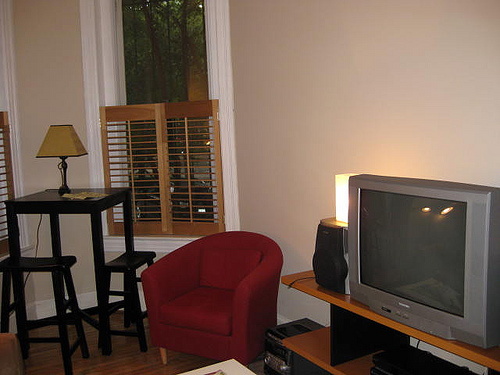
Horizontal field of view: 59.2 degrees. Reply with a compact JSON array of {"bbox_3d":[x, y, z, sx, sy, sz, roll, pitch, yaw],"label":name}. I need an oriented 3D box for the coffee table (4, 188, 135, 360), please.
[{"bbox_3d":[-1.524,0.649,3.949,1.047,1.447,0.876,4,8,14],"label":"coffee table"}]

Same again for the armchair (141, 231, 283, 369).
[{"bbox_3d":[-0.236,0.852,3.521,0.917,0.785,0.817,1,8,36],"label":"armchair"}]

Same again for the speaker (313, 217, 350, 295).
[{"bbox_3d":[0.488,0.406,2.650,0.163,0.414,0.180,-1,11,-20],"label":"speaker"}]
